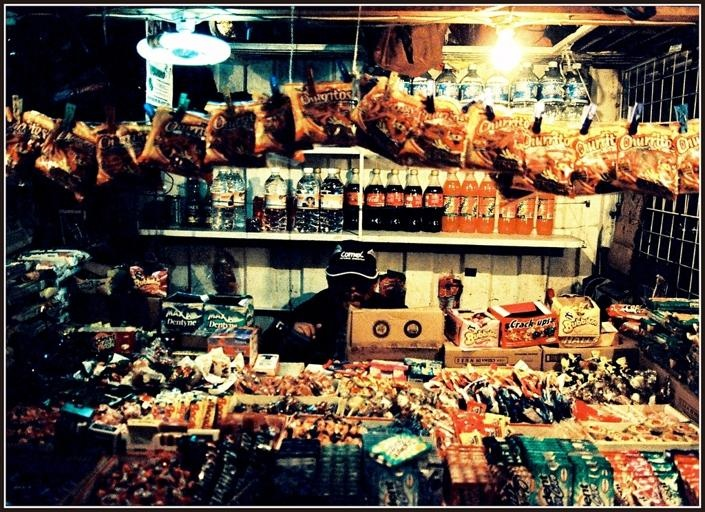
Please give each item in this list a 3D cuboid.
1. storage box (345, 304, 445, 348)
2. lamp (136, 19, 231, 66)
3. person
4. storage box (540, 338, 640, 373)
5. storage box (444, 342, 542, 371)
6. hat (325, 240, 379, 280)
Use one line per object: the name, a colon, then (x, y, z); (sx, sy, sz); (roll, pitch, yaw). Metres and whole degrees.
storage box: (0.150, 0.507, 4.374); (0.864, 0.243, 0.805); (1, -6, -5)
lamp: (-1.004, -1.240, 3.649); (0.385, 0.141, 0.366); (-2, -5, -3)
person: (-0.081, 0.364, 4.372); (0.749, 1.283, 0.474); (2, -24, 1)
storage box: (1.550, 0.625, 3.968); (0.369, 0.130, 0.258); (-1, -4, 5)
storage box: (0.906, 0.665, 4.038); (0.633, 0.155, 0.102); (-1, 4, 2)
hat: (-0.009, 0.033, 4.246); (0.325, 0.256, 0.201); (-2, 4, -2)
